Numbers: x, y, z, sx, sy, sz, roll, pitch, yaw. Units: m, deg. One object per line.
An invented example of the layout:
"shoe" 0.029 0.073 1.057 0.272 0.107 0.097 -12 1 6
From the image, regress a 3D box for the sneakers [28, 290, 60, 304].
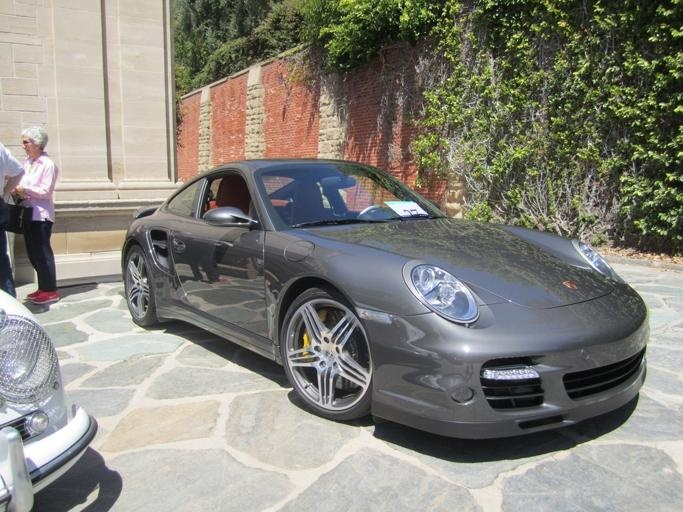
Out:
"sneakers" -3.919 0.529 5.547 0.268 0.079 0.203 4 2 -44
